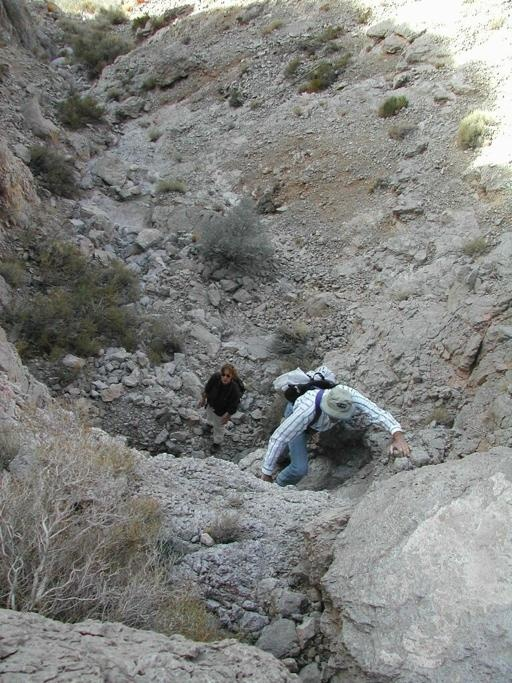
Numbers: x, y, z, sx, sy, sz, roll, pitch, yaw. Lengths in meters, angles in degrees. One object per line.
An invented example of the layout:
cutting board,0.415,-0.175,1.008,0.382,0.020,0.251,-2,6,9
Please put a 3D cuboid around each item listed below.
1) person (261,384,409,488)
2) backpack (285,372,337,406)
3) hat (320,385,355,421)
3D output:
person,0.595,0.952,6.370,1.249,0.927,1.299,-3,-24,1
backpack,0.503,0.447,6.476,0.356,0.135,0.270,-20,28,-9
hat,0.739,0.536,6.078,0.298,0.305,0.264,0,-14,30
